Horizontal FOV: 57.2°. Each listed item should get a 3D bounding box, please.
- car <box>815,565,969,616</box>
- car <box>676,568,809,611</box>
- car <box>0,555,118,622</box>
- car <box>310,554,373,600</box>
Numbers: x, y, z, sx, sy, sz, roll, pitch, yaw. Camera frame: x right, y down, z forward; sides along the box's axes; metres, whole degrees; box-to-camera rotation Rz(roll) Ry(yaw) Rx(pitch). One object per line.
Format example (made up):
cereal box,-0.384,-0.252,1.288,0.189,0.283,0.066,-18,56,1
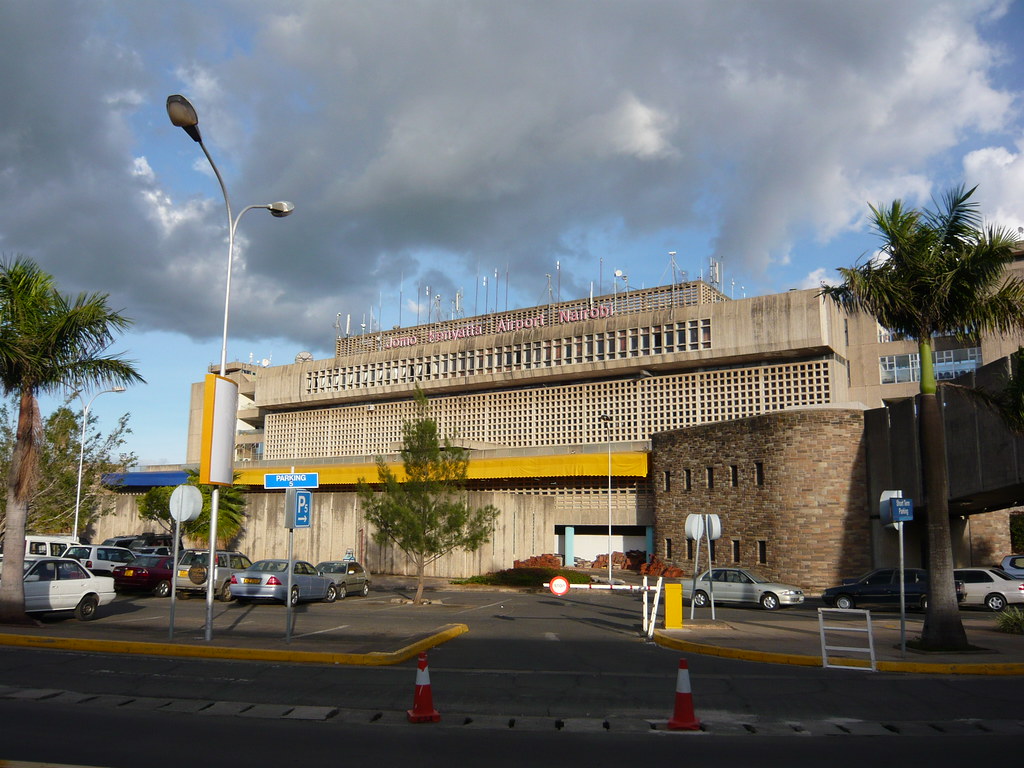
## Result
car,13.100,7.522,34.036,3.520,1.479,2.136,-5,-14,17
car,8.530,7.674,35.058,3.999,1.576,1.513,-5,-13,16
car,-12.659,5.863,26.734,1.262,1.125,2.456,-14,-25,38
car,-6.823,7.874,37.982,1.097,0.902,2.305,-5,-19,15
